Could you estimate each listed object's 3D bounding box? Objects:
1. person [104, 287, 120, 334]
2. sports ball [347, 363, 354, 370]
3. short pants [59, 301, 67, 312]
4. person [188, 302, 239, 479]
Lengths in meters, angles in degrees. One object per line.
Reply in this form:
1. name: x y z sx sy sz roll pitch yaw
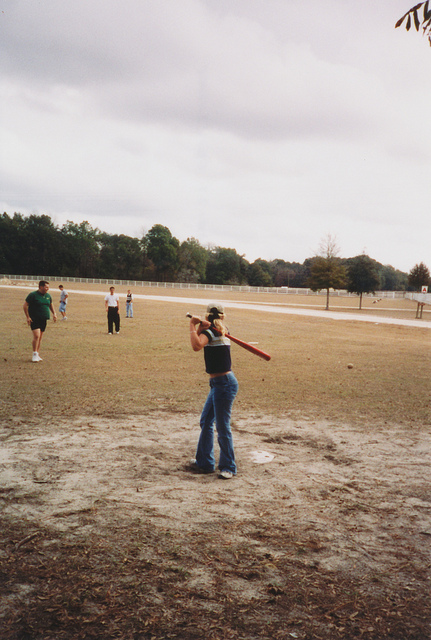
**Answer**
1. person: -3.045 -0.294 19.050 0.380 1.474 1.853 0 7 -9
2. sports ball: 2.812 0.988 13.428 0.113 0.115 0.134 1 28 35
3. short pants: -5.594 -0.477 23.542 0.314 0.619 0.442 -1 -1 -9
4. person: -0.024 0.692 6.543 0.510 1.704 0.814 1 6 0
